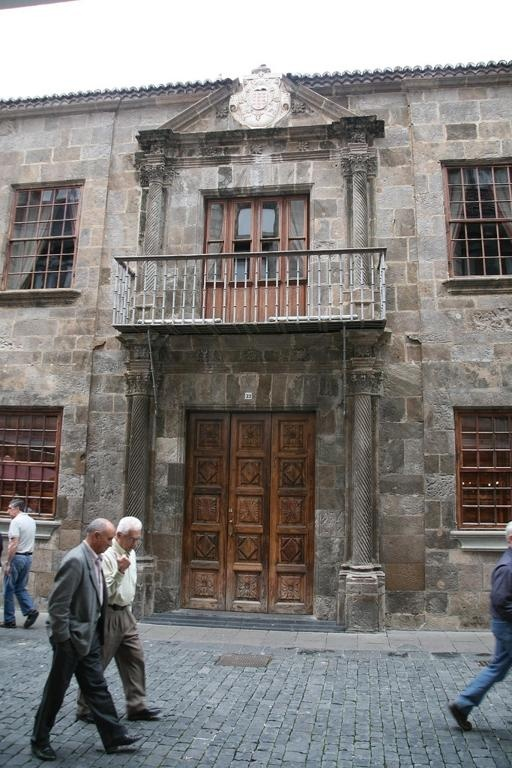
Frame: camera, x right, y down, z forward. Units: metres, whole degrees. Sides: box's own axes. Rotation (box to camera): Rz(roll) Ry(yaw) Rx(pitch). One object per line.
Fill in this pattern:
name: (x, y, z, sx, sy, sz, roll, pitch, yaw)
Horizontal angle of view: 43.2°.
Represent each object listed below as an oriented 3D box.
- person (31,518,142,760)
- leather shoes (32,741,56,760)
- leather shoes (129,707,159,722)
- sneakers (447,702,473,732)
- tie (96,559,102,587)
person: (-1.134, 1.652, 4.327, 0.572, 1.489, 0.381, 6, -11, -31)
leather shoes: (-1.355, 2.334, 4.180, 0.195, 0.082, 0.068, -5, -13, 37)
leather shoes: (-0.837, 2.446, 4.817, 0.257, 0.107, 0.091, 1, -1, -11)
sneakers: (1.458, 2.369, 4.645, 0.116, 0.269, 0.100, -22, 2, 7)
tie: (-1.098, 1.289, 4.519, 0.033, 0.129, 0.092, -1, 0, -30)
